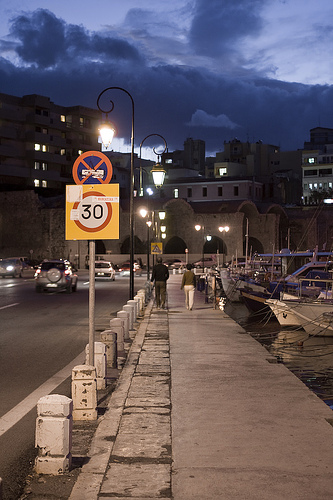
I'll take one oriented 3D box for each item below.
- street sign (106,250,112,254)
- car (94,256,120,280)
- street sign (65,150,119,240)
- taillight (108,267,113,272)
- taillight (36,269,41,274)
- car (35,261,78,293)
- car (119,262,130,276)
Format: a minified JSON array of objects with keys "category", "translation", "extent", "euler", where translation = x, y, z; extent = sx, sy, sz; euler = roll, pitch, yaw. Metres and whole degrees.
[{"category":"street sign","translation":[-8.523,0.350,83.109],"extent":[0.976,0.575,0.494],"euler":[1,1,30]},{"category":"car","translation":[-5.652,1.981,51.390],"extent":[1.692,1.705,2.133],"euler":[0,1,-9]},{"category":"street sign","translation":[-0.971,-0.708,7.413],"extent":[0.705,1.254,0.020],"euler":[-1,-9,0]},{"category":"taillight","translation":[-5.009,1.804,50.821],"extent":[0.278,0.301,0.520],"euler":[2,-8,-20]},{"category":"taillight","translation":[-7.518,1.294,33.111],"extent":[0.160,0.301,0.413],"euler":[-1,1,-32]},{"category":"car","translation":[-6.526,1.527,32.995],"extent":[1.361,1.231,2.454],"euler":[1,2,1]},{"category":"car","translation":[-5.331,2.503,71.828],"extent":[1.436,1.057,2.421],"euler":[0,-6,-6]}]
